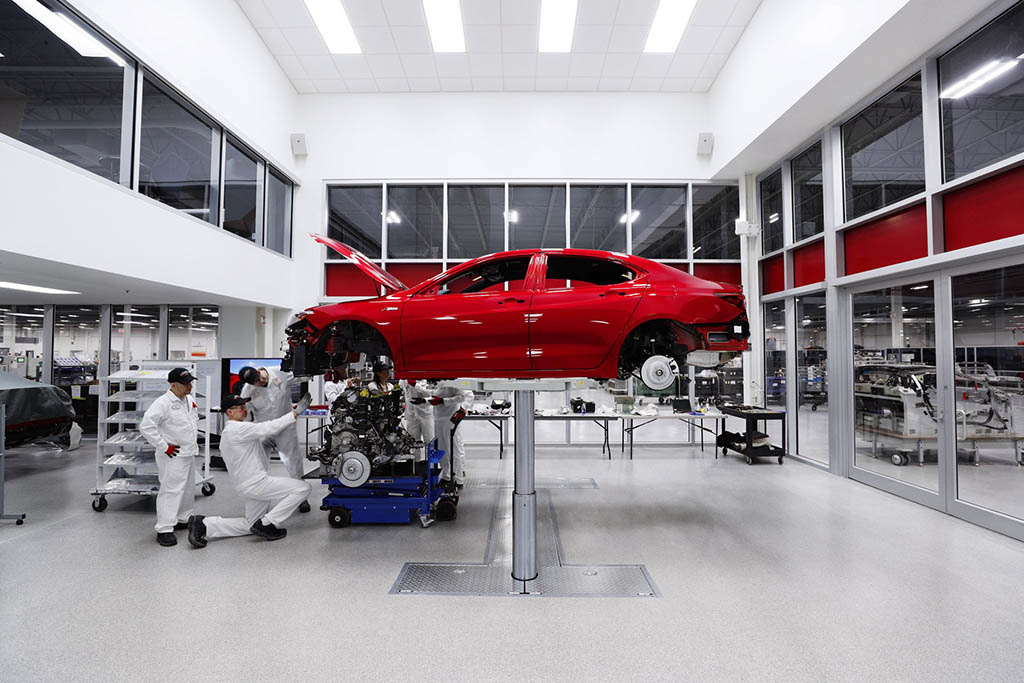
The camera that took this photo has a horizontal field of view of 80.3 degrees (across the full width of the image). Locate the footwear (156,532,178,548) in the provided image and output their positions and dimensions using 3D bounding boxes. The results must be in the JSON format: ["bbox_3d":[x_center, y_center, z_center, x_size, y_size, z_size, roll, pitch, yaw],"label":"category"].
[{"bbox_3d":[-4.044,2.307,7.120,0.235,0.151,0.178,-3,7,-19],"label":"footwear"}]

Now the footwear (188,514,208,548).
[{"bbox_3d":[-3.688,2.200,7.134,0.201,0.404,0.157,0,-1,-11],"label":"footwear"}]

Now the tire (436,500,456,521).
[{"bbox_3d":[-0.815,2.118,7.650,0.274,0.249,0.169,-2,7,-18],"label":"tire"}]

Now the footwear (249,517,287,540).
[{"bbox_3d":[-2.877,2.247,7.313,0.480,0.235,0.181,5,0,-11],"label":"footwear"}]

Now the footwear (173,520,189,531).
[{"bbox_3d":[-4.049,2.240,7.441,0.155,0.138,0.052,7,2,1],"label":"footwear"}]

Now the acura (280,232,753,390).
[{"bbox_3d":[-0.098,-0.193,7.598,5.211,1.740,2.044,0,-3,3],"label":"acura"}]

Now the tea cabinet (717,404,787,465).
[{"bbox_3d":[4.033,1.515,10.214,0.881,1.031,1.639,0,-1,-1],"label":"tea cabinet"}]

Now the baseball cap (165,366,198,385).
[{"bbox_3d":[-4.094,0.426,7.508,0.282,0.146,0.185,-2,2,-12],"label":"baseball cap"}]

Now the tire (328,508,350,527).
[{"bbox_3d":[-2.109,2.145,7.427,0.225,0.204,0.076,14,5,6],"label":"tire"}]
